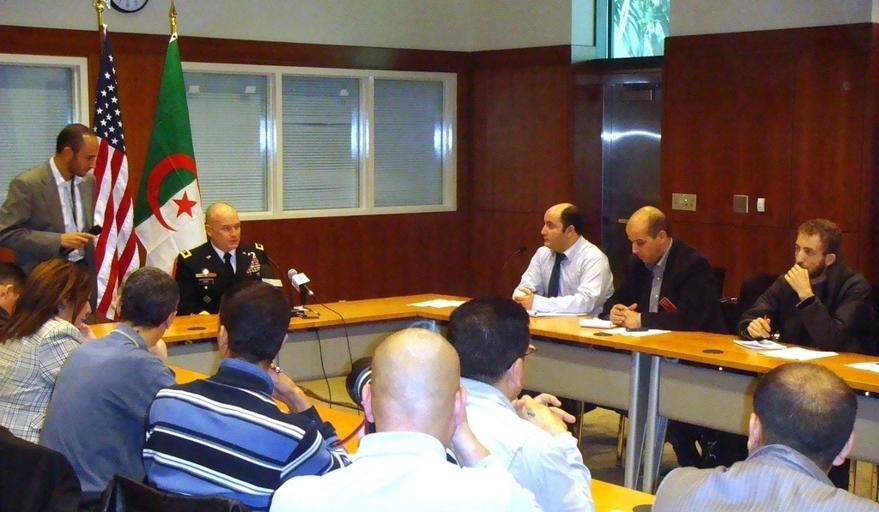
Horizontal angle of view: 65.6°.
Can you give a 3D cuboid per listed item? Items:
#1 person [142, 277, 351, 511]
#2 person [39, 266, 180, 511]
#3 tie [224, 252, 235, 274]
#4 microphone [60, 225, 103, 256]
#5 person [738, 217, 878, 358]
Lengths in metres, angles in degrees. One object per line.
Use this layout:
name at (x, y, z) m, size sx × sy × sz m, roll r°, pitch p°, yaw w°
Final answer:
person at (-0.884, 0.616, 3.129) m, size 0.677 × 1.224 × 0.687 m, roll 10°, pitch 25°, yaw -1°
person at (-1.484, 0.607, 3.047) m, size 0.446 × 1.044 × 0.581 m, roll 27°, pitch 27°, yaw 11°
tie at (-1.698, 0.051, 5.555) m, size 0.093 × 0.155 × 0.037 m, roll -9°, pitch -15°, yaw -37°
microphone at (-2.668, -0.126, 5.065) m, size 0.325 × 0.075 × 0.088 m, roll -28°, pitch 15°, yaw 9°
person at (2.437, 0.190, 4.501) m, size 0.829 × 0.854 × 0.509 m, roll 3°, pitch 8°, yaw 20°
